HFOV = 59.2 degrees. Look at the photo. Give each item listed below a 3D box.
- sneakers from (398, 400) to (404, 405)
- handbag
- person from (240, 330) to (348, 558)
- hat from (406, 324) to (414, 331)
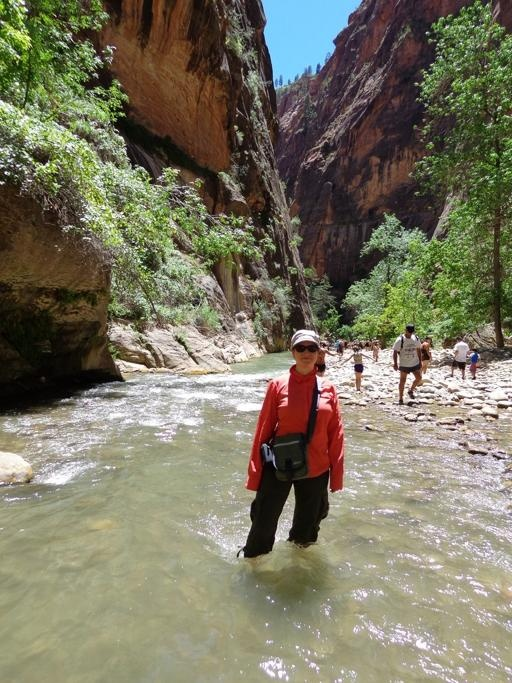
[{"bbox_3d":[2.811,1.171,8.779,0.100,0.103,0.245,3,0,17],"label":"sneakers"},{"bbox_3d":[0.266,0.532,2.762,0.322,0.559,0.203,3,1,-21],"label":"handbag"},{"bbox_3d":[0.250,0.727,2.904,0.632,1.550,0.427,-1,11,-8],"label":"person"},{"bbox_3d":[3.026,-0.274,8.819,0.130,0.166,0.168,-3,15,-1],"label":"hat"}]
